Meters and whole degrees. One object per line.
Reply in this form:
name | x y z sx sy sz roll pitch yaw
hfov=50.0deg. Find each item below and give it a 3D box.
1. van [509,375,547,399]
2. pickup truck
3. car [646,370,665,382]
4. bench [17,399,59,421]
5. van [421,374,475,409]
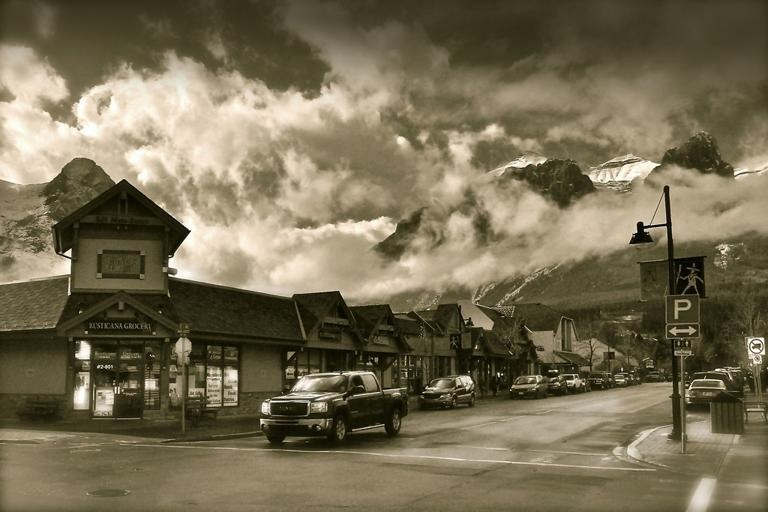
van | 11.017 9.988 62.959 2.029 1.789 2.970 -11 -15 28
pickup truck | -1.899 6.057 32.569 2.724 1.890 4.768 -8 -16 30
car | 41.622 18.692 127.381 2.534 1.882 4.233 -1 -9 22
bench | -16.564 7.316 39.286 1.943 1.116 0.672 -8 -13 16
van | 3.846 8.369 50.739 1.730 2.048 4.047 -13 -16 34
